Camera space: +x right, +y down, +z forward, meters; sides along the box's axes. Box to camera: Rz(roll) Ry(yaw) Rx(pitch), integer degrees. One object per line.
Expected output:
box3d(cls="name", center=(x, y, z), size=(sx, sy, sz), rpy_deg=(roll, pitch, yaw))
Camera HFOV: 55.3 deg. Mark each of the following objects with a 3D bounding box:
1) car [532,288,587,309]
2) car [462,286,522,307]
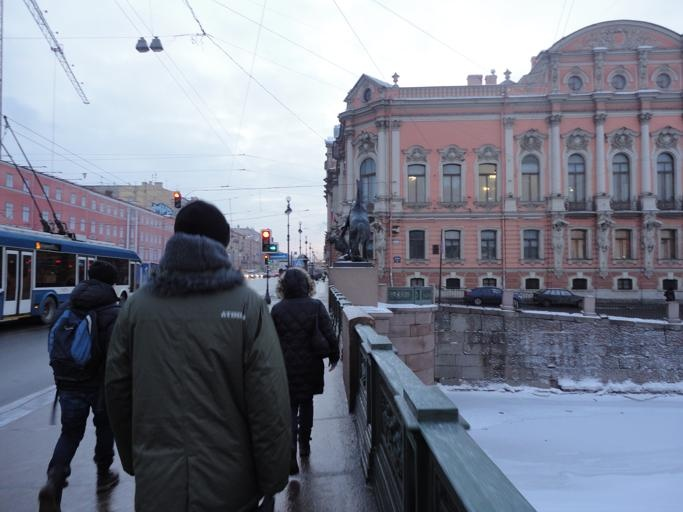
box3d(cls="car", center=(12.631, 2.477, 38.131), size=(2.329, 0.919, 1.067), rpy_deg=(-1, 1, 14))
box3d(cls="car", center=(8.748, 2.380, 38.394), size=(2.790, 1.039, 1.359), rpy_deg=(-1, 0, 1))
